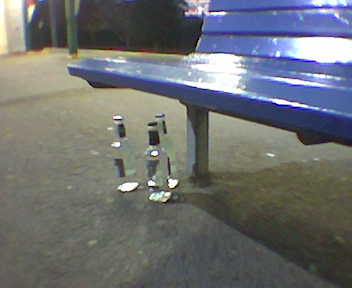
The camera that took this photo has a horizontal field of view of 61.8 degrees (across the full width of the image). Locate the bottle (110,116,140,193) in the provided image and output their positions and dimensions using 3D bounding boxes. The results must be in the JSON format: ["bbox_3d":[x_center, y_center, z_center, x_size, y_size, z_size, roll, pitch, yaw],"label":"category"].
[{"bbox_3d":[-0.240,0.034,1.425,0.116,0.366,0.113,-6,20,2],"label":"bottle"}]

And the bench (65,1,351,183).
[{"bbox_3d":[0.141,-0.226,0.826,0.760,0.338,0.527,21,31,36],"label":"bench"}]

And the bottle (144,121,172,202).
[{"bbox_3d":[-0.098,0.064,1.361,0.105,0.336,0.098,-2,27,1],"label":"bottle"}]
